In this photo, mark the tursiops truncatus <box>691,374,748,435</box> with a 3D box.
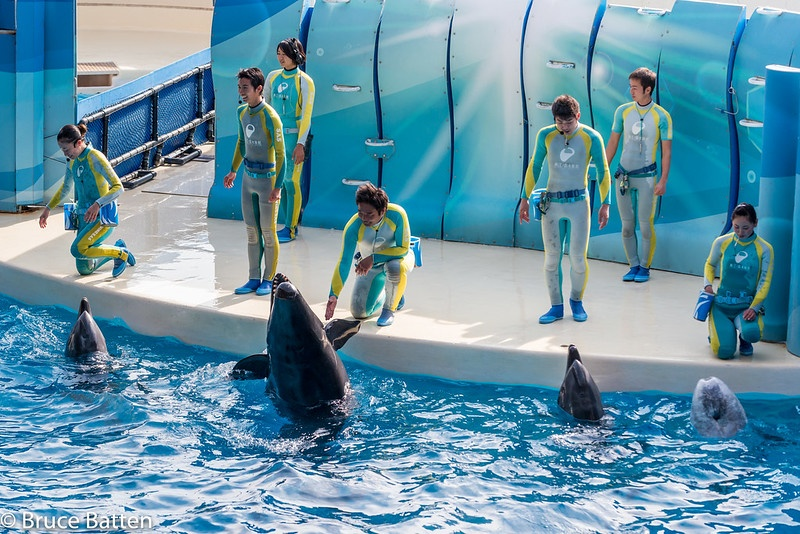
[{"bbox_3d":[2.459,1.083,5.635,0.492,0.179,0.444,1,-23,31],"label":"tursiops truncatus"}]

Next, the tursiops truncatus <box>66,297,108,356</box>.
[{"bbox_3d":[-2.696,0.585,6.310,0.224,0.650,0.248,1,6,-1],"label":"tursiops truncatus"}]

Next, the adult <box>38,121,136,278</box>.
[{"bbox_3d":[-3.202,-0.693,7.560,0.823,1.540,0.499,4,6,13],"label":"adult"}]

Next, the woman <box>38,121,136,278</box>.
[{"bbox_3d":[-3.201,-0.693,7.554,0.824,1.540,0.487,4,6,11],"label":"woman"}]

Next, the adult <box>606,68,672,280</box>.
[{"bbox_3d":[2.462,-0.903,7.573,0.586,2.130,0.784,5,7,21],"label":"adult"}]

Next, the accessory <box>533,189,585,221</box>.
[{"bbox_3d":[1.392,-0.559,6.484,0.321,0.193,0.276,6,10,10],"label":"accessory"}]

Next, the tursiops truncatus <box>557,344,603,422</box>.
[{"bbox_3d":[1.349,0.918,5.535,0.213,0.648,0.230,-5,-1,17],"label":"tursiops truncatus"}]

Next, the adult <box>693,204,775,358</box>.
[{"bbox_3d":[2.778,0.118,6.061,0.515,1.269,0.406,6,7,29],"label":"adult"}]

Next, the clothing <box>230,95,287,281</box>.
[{"bbox_3d":[-1.336,-0.703,7.032,0.411,1.692,0.230,6,7,28],"label":"clothing"}]

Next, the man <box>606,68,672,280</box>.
[{"bbox_3d":[2.458,-0.904,7.573,0.593,2.130,0.781,5,7,21],"label":"man"}]

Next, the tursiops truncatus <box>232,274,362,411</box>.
[{"bbox_3d":[-0.764,0.612,5.567,0.789,1.123,0.404,-14,47,-5],"label":"tursiops truncatus"}]

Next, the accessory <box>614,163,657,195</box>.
[{"bbox_3d":[2.413,-0.898,7.480,0.331,0.222,0.262,6,4,1],"label":"accessory"}]

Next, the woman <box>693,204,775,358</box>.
[{"bbox_3d":[2.776,0.119,6.057,0.522,1.269,0.394,6,7,27],"label":"woman"}]

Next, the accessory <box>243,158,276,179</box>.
[{"bbox_3d":[-1.338,-0.927,6.957,0.310,0.167,0.078,3,6,6],"label":"accessory"}]

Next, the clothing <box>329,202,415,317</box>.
[{"bbox_3d":[-0.244,-0.065,6.410,0.475,1.013,0.809,5,6,23],"label":"clothing"}]

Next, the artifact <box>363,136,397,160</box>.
[{"bbox_3d":[-0.229,-1.444,8.935,0.297,0.228,0.059,2,20,6],"label":"artifact"}]

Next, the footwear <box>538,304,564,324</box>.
[{"bbox_3d":[1.385,0.429,6.746,0.278,0.186,0.115,-9,11,-17],"label":"footwear"}]

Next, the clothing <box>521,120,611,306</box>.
[{"bbox_3d":[1.456,-0.436,6.510,0.753,1.647,0.423,4,6,12],"label":"clothing"}]
